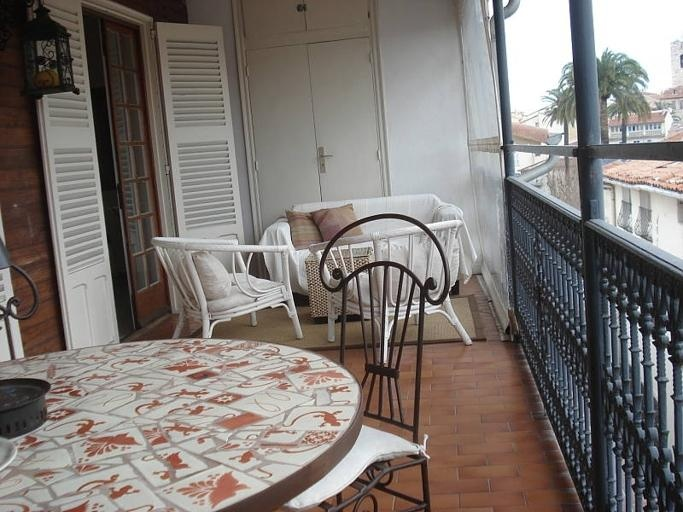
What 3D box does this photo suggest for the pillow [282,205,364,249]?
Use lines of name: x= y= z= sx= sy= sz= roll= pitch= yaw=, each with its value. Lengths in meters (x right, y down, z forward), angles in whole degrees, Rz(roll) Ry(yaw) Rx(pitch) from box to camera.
pillow: x=-0.207 y=-0.263 z=5.161 sx=0.527 sy=0.170 sz=0.552 roll=8 pitch=-7 yaw=-9

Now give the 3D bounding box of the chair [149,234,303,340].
chair: x=-0.841 y=0.169 z=3.813 sx=0.998 sy=0.826 sz=0.897 roll=-5 pitch=9 yaw=-34

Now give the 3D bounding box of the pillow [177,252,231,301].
pillow: x=-0.909 y=0.132 z=3.423 sx=0.147 sy=0.354 sz=0.237 roll=-1 pitch=9 yaw=12

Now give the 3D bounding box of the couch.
couch: x=0.382 y=-0.334 z=5.015 sx=1.941 sy=0.854 sz=1.115 roll=-6 pitch=13 yaw=5
